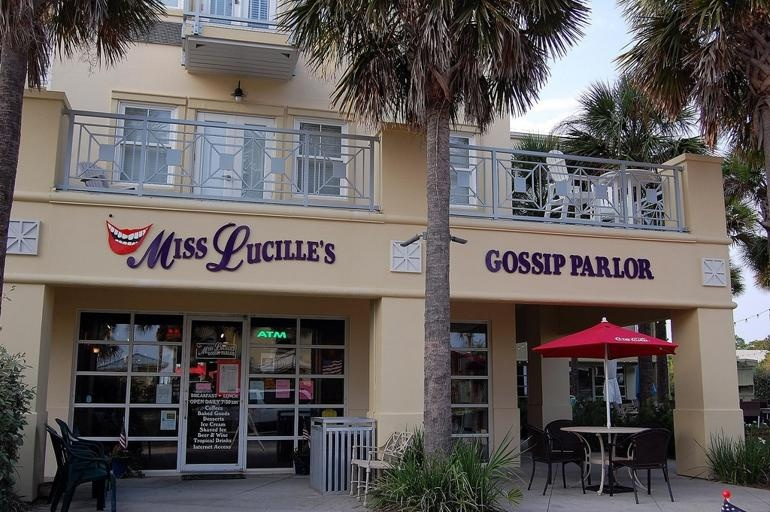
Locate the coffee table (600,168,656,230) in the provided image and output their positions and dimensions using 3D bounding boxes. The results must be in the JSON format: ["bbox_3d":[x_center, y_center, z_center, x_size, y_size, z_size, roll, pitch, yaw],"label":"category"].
[{"bbox_3d":[5.820,-1.521,17.417,0.924,1.763,1.771,6,4,-8],"label":"coffee table"}]

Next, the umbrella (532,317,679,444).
[{"bbox_3d":[4.623,2.429,15.468,2.622,2.293,1.717,-1,-10,6],"label":"umbrella"}]

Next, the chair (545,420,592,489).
[{"bbox_3d":[3.990,4.372,16.139,0.798,1.429,1.526,8,-5,-3],"label":"chair"}]

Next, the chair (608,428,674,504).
[{"bbox_3d":[5.204,4.322,15.061,0.840,1.447,1.961,4,-4,42],"label":"chair"}]

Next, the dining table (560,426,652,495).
[{"bbox_3d":[4.698,4.264,15.632,1.670,1.261,1.728,-1,-16,7],"label":"dining table"}]

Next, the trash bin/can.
[{"bbox_3d":[-0.879,4.155,15.294,1.177,1.430,1.186,6,-15,-27],"label":"trash bin/can"}]

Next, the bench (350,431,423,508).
[{"bbox_3d":[-0.072,4.289,14.593,0.923,1.457,1.653,2,-7,-13],"label":"bench"}]
